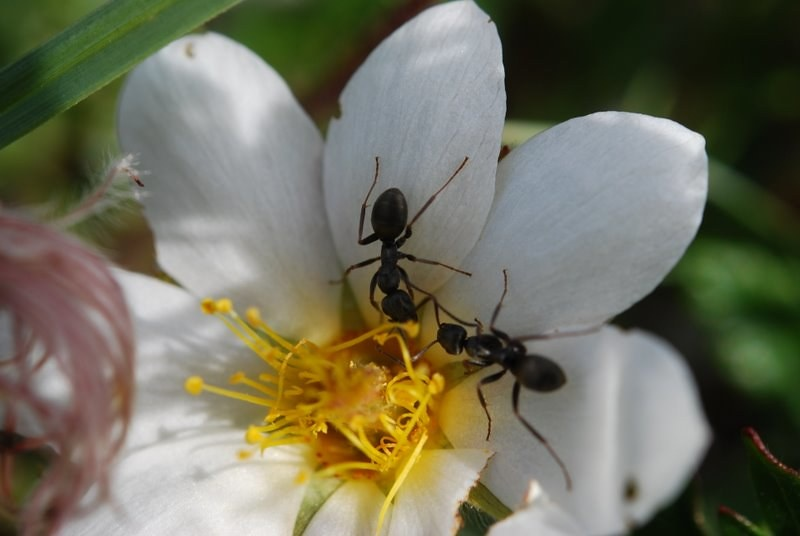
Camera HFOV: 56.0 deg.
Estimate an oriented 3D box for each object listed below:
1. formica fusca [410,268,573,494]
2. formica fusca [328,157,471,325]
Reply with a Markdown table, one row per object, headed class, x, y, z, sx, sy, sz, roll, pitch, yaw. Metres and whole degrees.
| class | x | y | z | sx | sy | sz | roll | pitch | yaw |
| --- | --- | --- | --- | --- | --- | --- | --- | --- | --- |
| formica fusca | 0.158 | 0.191 | 1.363 | 0.183 | 0.288 | 0.373 | 2 | 92 | 0 |
| formica fusca | -0.003 | -0.038 | 1.491 | 0.262 | 0.324 | 0.091 | 14 | 28 | 39 |
